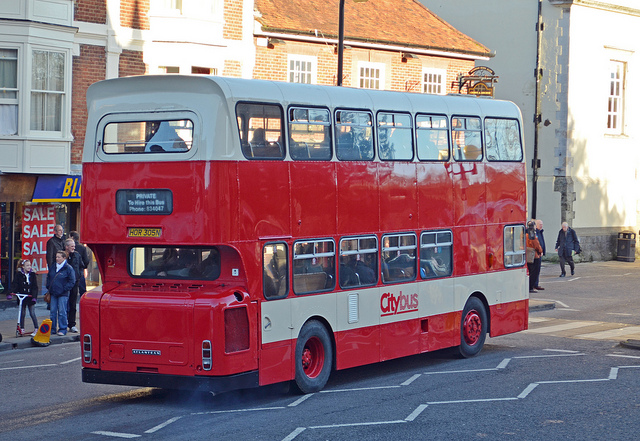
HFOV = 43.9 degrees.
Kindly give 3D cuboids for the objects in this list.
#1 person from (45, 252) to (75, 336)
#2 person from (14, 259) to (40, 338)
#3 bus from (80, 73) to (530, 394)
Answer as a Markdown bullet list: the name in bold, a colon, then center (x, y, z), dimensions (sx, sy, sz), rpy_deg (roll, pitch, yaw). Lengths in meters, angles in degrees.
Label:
- **person**: center (-6.899, 1.918, 21.123), dimensions (0.682, 2.217, 0.737), rpy_deg (-1, 4, -21)
- **person**: center (-7.755, 2.070, 20.898), dimensions (0.698, 2.109, 0.734), rpy_deg (3, 9, -2)
- **bus**: center (0.332, 0.031, 17.528), dimensions (11.042, 5.847, 3.049), rpy_deg (-3, 5, -38)
